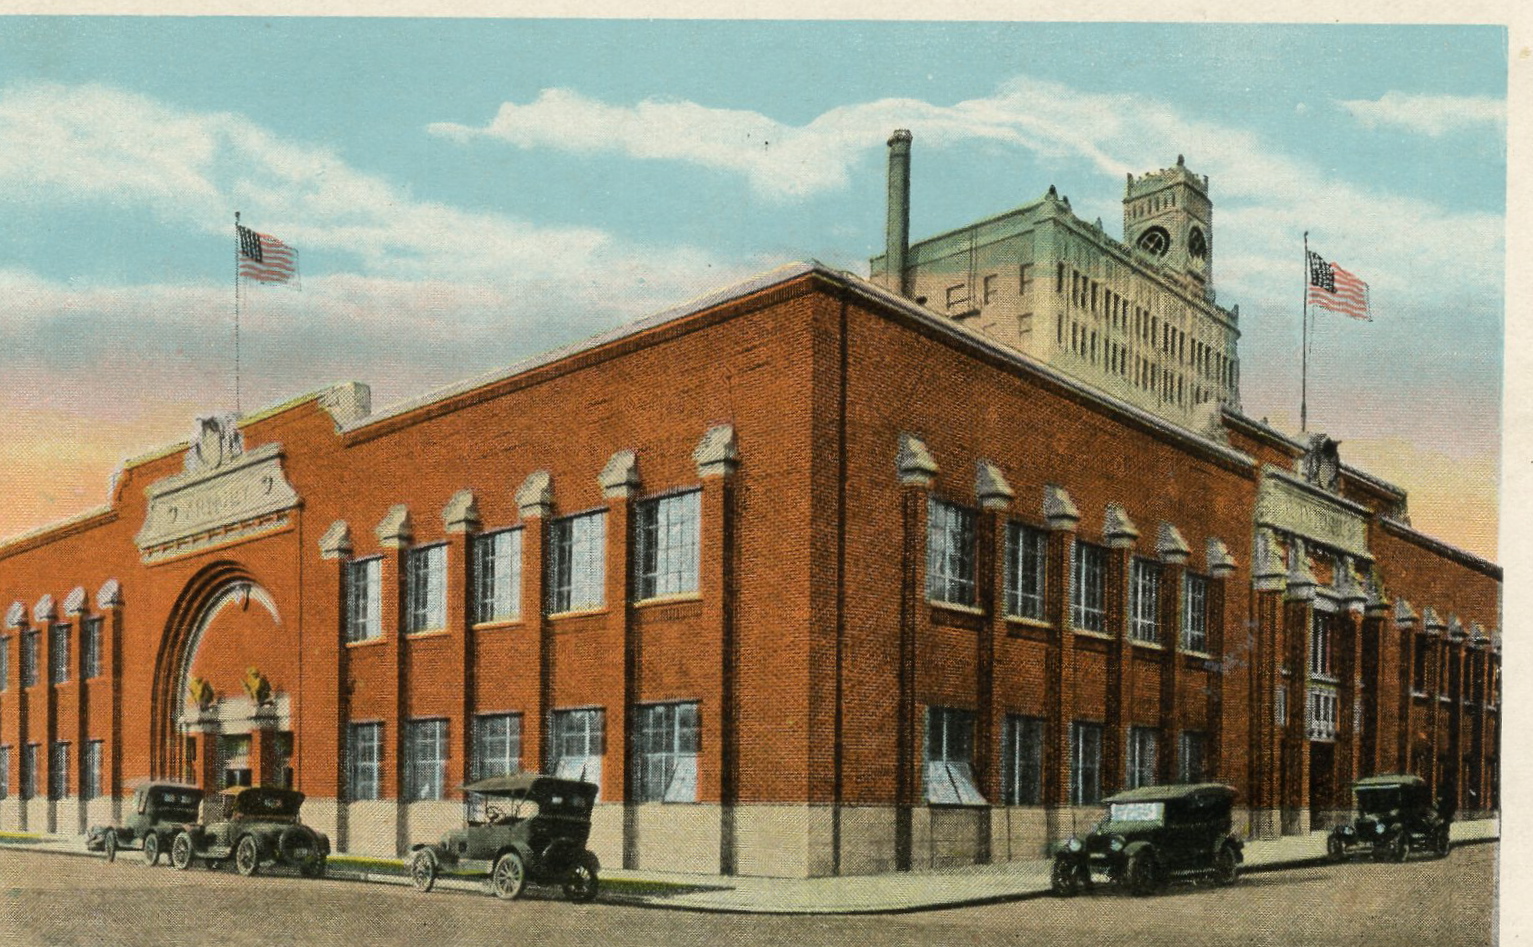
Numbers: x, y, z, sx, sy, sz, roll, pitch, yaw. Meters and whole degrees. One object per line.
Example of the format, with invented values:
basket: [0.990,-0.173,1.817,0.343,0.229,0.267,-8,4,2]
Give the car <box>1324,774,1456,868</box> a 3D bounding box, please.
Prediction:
car: [18.168,10.054,73.832,2.147,1.674,3.586,-14,-22,41]

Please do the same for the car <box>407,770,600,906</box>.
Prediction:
car: [-6.775,9.661,67.759,5.088,2.814,2.803,-10,-19,40]

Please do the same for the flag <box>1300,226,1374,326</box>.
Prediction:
flag: [16.278,-5.585,72.810,0.228,2.388,2.384,2,0,-39]

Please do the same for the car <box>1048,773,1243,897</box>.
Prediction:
car: [10.382,9.778,68.688,3.083,2.558,5.836,-6,-7,43]
